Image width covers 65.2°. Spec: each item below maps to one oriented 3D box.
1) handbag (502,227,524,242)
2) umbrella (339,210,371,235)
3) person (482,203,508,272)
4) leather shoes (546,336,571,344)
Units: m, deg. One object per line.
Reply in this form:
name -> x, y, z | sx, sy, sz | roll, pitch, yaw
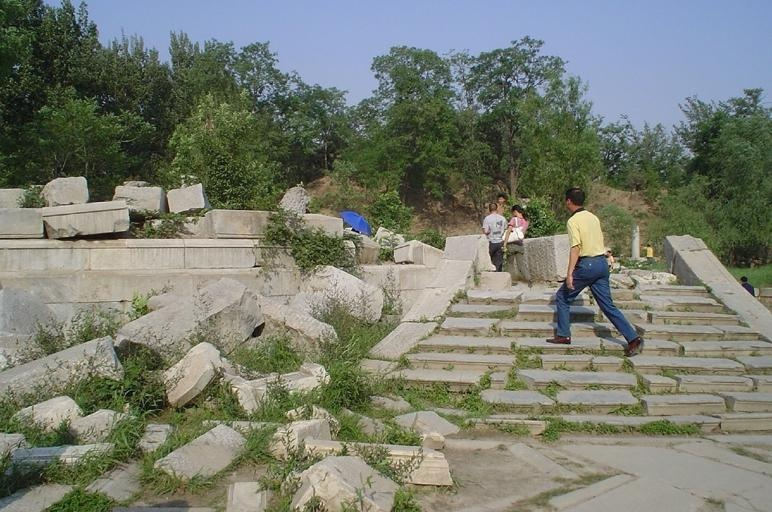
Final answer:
handbag -> 2.849, -0.506, 13.564 | 0.286, 0.281, 0.144 | -9, -14, 37
umbrella -> -1.126, -1.233, 21.962 | 0.954, 0.743, 2.728 | 1, 5, -5
person -> 2.466, -0.435, 13.591 | 0.543, 1.514, 0.702 | 1, 5, -1
leather shoes -> 2.944, 1.422, 10.307 | 0.364, 0.148, 0.134 | 5, 0, 20
